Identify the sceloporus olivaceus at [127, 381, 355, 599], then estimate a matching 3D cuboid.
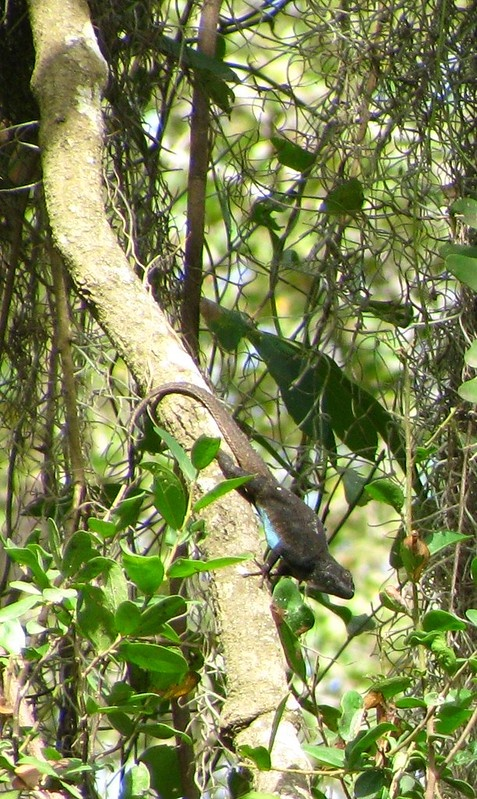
[{"bbox_3d":[0.083,0.251,2.424,0.229,0.292,0.731,-20,-59,32],"label":"sceloporus olivaceus"}]
